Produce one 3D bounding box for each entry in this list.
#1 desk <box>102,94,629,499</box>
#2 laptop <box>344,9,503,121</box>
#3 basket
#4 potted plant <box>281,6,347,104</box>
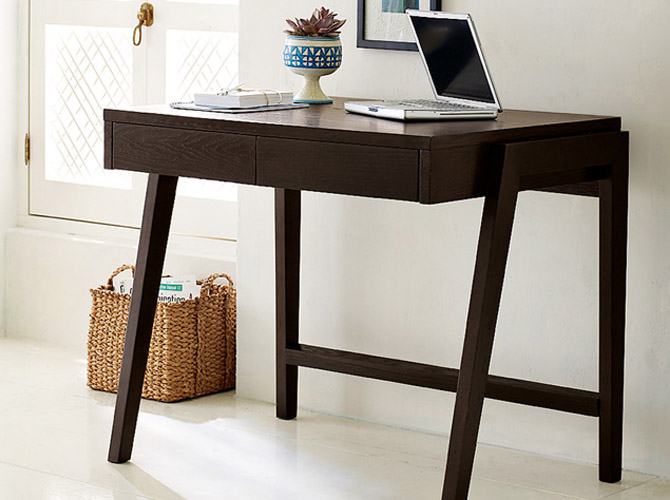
[{"bbox_3d":[0.096,0.110,1.818,1.369,1.100,0.831,5,9,29],"label":"desk"},{"bbox_3d":[0.227,-0.463,1.690,0.329,0.349,0.400,-4,12,-30],"label":"laptop"},{"bbox_3d":[-0.708,0.289,2.610,0.563,0.599,0.474,6,7,44],"label":"basket"},{"bbox_3d":[-0.070,-0.630,2.039,0.188,0.340,0.325,1,8,-1],"label":"potted plant"}]
